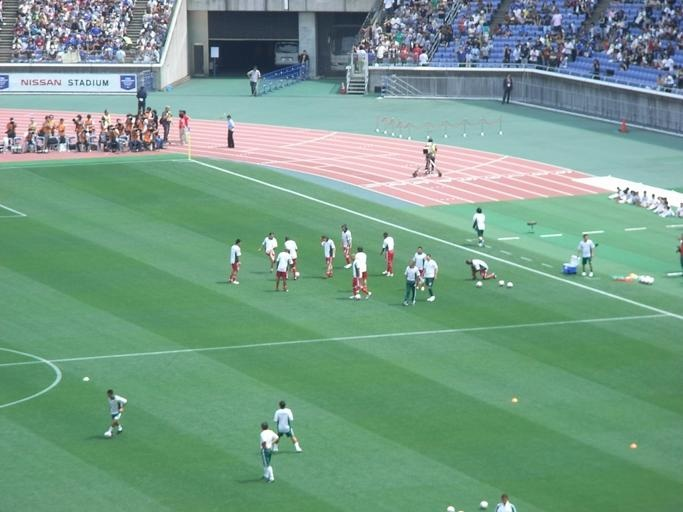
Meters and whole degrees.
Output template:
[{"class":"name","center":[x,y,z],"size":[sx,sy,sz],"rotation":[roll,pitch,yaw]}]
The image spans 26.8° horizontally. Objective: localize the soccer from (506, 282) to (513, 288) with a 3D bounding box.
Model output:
[{"class":"soccer","center":[7.142,1.195,60.499],"size":[0.174,0.206,0.219],"rotation":[19,0,-28]}]

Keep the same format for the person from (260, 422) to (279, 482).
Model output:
[{"class":"person","center":[-2.396,6.466,47.987],"size":[0.531,2.068,1.031],"rotation":[1,9,-3]}]

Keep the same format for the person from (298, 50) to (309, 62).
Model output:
[{"class":"person","center":[-2.718,-14.608,104.763],"size":[0.731,0.897,1.433],"rotation":[1,9,-1]}]

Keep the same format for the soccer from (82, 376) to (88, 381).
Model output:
[{"class":"soccer","center":[-9.316,4.481,52.430],"size":[0.209,0.104,0.302],"rotation":[-1,10,-17]}]

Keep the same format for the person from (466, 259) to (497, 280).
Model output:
[{"class":"person","center":[5.871,0.500,61.429],"size":[1.734,0.880,0.951],"rotation":[-4,11,-29]}]

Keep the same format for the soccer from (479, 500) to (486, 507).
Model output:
[{"class":"soccer","center":[4.717,8.175,47.305],"size":[0.248,0.198,0.323],"rotation":[2,10,3]}]

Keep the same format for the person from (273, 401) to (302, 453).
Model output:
[{"class":"person","center":[-1.914,5.733,48.901],"size":[1.011,1.938,0.598],"rotation":[-1,20,3]}]
